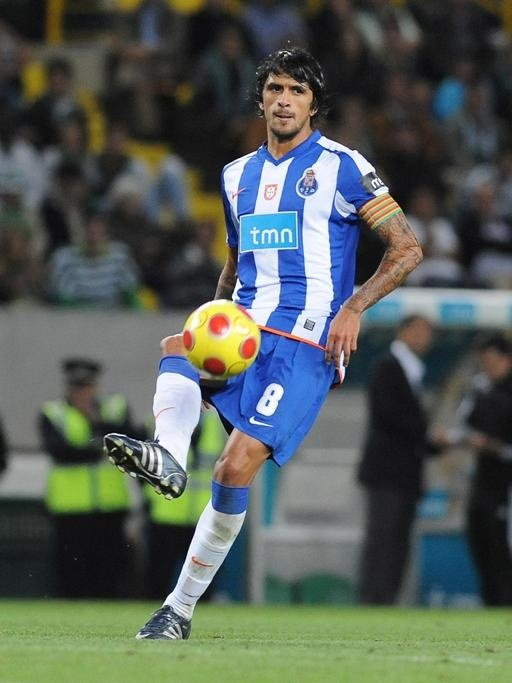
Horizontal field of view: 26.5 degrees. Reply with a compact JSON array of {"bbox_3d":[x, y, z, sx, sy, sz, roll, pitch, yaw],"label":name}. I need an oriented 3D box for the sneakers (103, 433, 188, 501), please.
[{"bbox_3d":[-0.368,0.417,3.617,0.280,0.237,0.198,4,10,-6],"label":"sneakers"}]

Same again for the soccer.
[{"bbox_3d":[-0.121,-0.005,3.863,0.297,0.279,0.270,12,10,5],"label":"soccer"}]

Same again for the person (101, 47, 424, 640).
[{"bbox_3d":[-0.083,-0.008,4.035,1.090,2.197,0.819,-3,14,-42],"label":"person"}]
